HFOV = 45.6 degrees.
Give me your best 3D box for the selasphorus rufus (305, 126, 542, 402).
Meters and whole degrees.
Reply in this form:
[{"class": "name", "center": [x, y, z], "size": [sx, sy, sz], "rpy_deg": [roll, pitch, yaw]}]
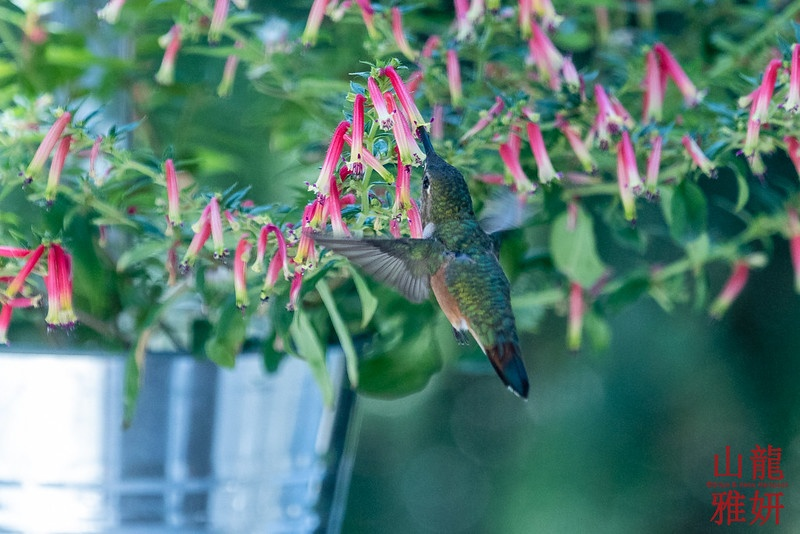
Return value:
[{"class": "selasphorus rufus", "center": [0.043, -0.067, 1.453], "size": [0.385, 0.201, 0.410], "rpy_deg": [22, 37, -17]}]
